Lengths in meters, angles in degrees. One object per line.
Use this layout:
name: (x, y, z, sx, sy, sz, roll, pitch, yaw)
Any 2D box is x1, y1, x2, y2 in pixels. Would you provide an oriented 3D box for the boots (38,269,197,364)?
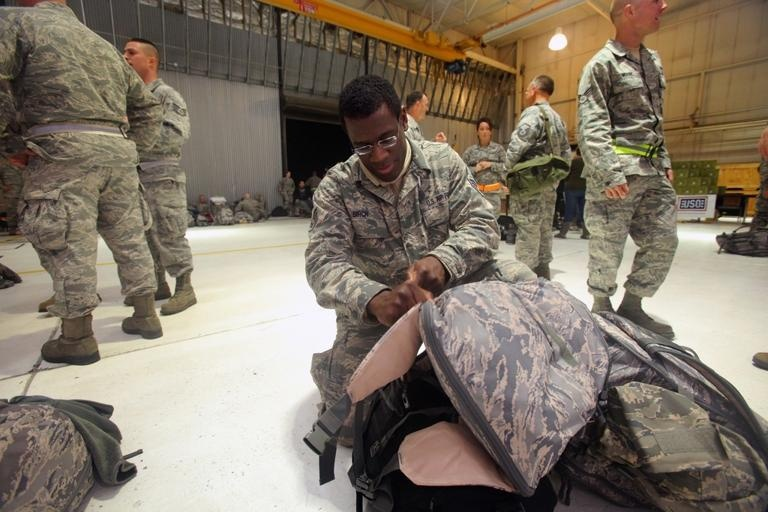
boots: (-1.710, 0.395, 2.560, 0.420, 0.307, 0.826, 14, 26, 36)

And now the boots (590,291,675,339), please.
boots: (1.366, 0.314, 2.295, 0.324, 0.227, 0.115, 12, 40, 34)

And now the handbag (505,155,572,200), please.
handbag: (1.205, -0.649, 3.299, 0.285, 0.172, 0.437, -8, -10, -19)
